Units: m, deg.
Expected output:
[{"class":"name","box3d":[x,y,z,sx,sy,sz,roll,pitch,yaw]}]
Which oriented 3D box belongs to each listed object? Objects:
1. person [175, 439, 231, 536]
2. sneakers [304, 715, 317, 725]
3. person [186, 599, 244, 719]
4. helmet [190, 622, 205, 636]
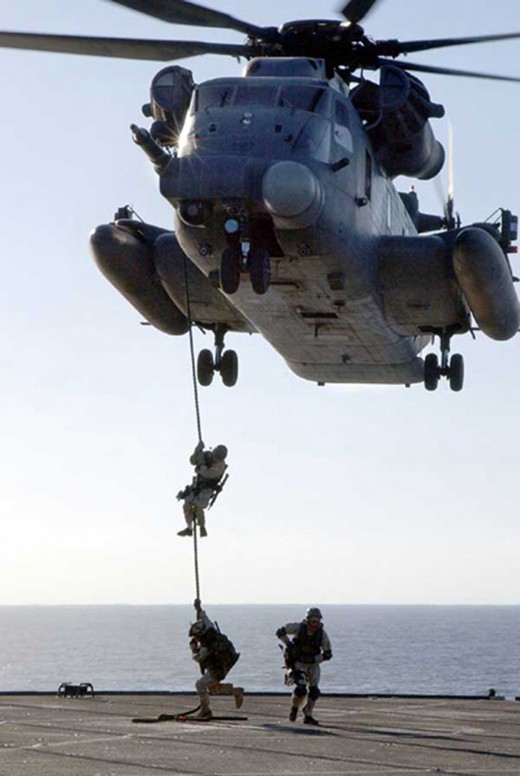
[{"class":"person","box3d":[-0.616,1.123,18.279,0.526,1.170,1.317,3,-14,-2]},{"class":"sneakers","box3d":[0.564,3.465,17.517,0.056,0.120,0.170,5,-15,-41]},{"class":"person","box3d":[-0.468,2.880,17.776,0.571,1.242,0.951,1,-14,7]},{"class":"helmet","box3d":[-0.650,2.543,17.624,0.124,0.167,0.150,10,-47,6]}]
